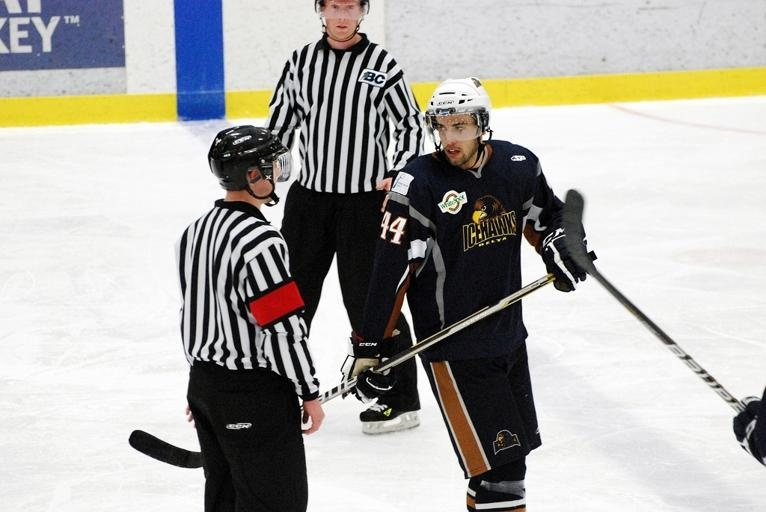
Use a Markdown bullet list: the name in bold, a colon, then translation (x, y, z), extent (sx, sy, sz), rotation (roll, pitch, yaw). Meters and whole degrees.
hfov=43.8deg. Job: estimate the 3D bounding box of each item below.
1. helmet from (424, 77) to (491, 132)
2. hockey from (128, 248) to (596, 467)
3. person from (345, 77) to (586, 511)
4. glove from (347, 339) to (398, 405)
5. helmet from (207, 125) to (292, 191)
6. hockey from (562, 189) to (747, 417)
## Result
- **helmet**: translation (0.260, -0.572, 3.801), extent (0.232, 0.231, 0.253), rotation (2, -10, 12)
- **hockey**: translation (-0.072, 0.458, 3.999), extent (1.941, 0.148, 0.157), rotation (-25, 39, 3)
- **person**: translation (0.363, 0.179, 3.840), extent (0.798, 1.749, 0.623), rotation (8, 16, 25)
- **glove**: translation (-0.094, 0.467, 3.862), extent (0.203, 0.244, 0.264), rotation (1, -13, -33)
- **helmet**: translation (-0.520, -0.363, 3.657), extent (0.317, 0.247, 0.232), rotation (-9, 22, -15)
- **hockey**: translation (0.988, 0.170, 3.822), extent (0.070, 1.262, 0.421), rotation (-37, 19, 20)
